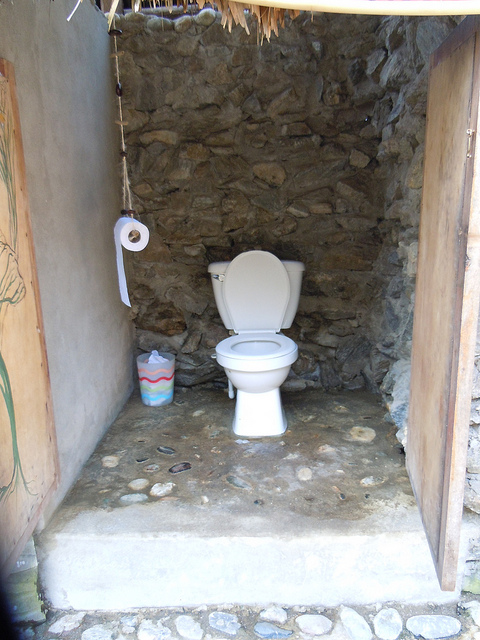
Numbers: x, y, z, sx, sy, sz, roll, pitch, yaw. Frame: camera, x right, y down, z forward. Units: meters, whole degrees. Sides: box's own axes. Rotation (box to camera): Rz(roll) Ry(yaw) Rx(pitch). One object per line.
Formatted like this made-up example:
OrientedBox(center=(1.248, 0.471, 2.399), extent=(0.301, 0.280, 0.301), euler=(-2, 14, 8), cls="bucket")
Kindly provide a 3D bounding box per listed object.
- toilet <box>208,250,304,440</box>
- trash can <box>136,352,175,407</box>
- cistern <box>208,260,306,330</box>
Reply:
OrientedBox(center=(0.062, 0.091, 2.302), extent=(0.480, 0.810, 0.608), euler=(-1, 10, 6), cls="toilet")
OrientedBox(center=(-0.424, 0.304, 2.599), extent=(0.229, 0.265, 0.238), euler=(1, 7, 2), cls="trash can")
OrientedBox(center=(0.130, -0.146, 2.705), extent=(0.302, 0.361, 0.509), euler=(12, -5, -12), cls="cistern")
